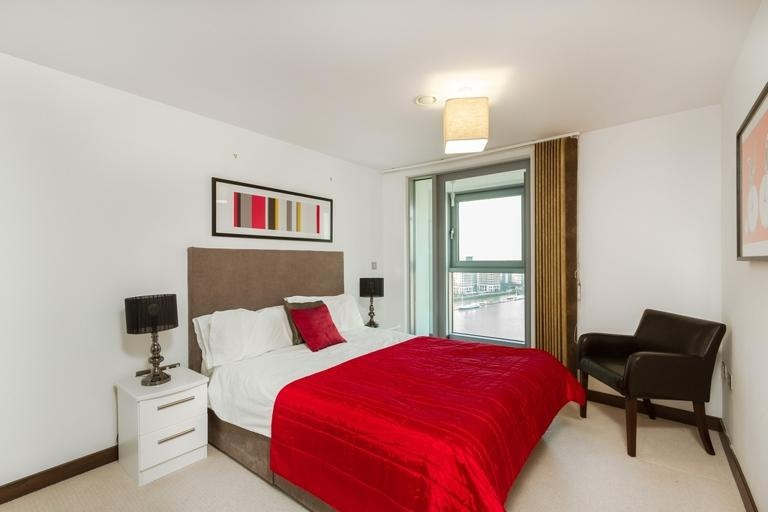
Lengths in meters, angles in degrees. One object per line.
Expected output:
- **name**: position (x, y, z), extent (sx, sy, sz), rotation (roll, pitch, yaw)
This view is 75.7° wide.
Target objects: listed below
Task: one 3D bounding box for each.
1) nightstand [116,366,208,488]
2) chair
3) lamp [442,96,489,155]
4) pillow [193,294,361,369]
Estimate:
- **nightstand**: position (-1.978, 1.582, 4.870), extent (0.828, 1.062, 0.861), rotation (-4, -4, 40)
- **chair**: position (2.689, 1.235, 5.125), extent (1.045, 1.224, 1.112), rotation (0, 2, -11)
- **lamp**: position (0.763, -1.240, 4.898), extent (0.468, 0.511, 0.516), rotation (-1, -3, 2)
- **pillow**: position (-1.300, 0.779, 5.076), extent (1.845, 0.641, 0.267), rotation (-9, -15, -48)
